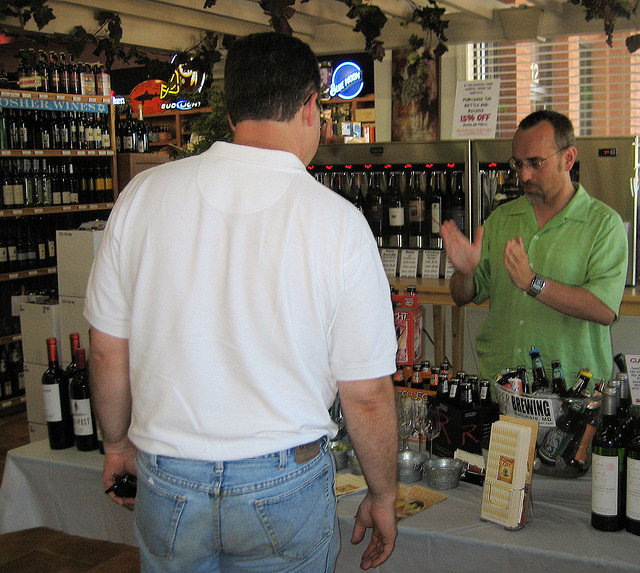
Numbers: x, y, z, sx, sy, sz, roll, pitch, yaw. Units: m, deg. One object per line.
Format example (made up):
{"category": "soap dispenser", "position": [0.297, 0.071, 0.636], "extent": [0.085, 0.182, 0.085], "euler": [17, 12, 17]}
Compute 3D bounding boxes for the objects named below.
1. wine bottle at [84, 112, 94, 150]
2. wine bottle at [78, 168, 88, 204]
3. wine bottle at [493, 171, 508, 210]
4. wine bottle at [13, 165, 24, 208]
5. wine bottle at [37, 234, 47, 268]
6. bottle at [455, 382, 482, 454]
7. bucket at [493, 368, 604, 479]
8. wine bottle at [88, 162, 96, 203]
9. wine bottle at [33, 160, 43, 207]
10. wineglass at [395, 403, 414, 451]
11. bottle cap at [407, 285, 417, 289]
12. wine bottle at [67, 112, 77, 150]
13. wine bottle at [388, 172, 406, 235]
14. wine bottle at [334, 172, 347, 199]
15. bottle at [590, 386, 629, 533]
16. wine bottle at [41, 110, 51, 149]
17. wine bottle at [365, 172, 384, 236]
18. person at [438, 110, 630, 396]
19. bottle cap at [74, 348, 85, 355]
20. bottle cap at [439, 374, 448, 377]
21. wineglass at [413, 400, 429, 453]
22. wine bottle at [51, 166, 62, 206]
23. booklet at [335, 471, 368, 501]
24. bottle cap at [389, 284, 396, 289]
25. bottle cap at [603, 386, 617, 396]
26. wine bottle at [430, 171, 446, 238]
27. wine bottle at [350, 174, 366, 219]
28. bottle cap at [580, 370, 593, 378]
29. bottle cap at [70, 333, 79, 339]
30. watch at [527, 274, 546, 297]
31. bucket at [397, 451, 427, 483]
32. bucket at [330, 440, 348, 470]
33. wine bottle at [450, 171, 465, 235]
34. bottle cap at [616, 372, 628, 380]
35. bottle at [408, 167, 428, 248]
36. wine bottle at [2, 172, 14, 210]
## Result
{"category": "wine bottle", "position": [-2.334, -1.533, 5.927], "extent": [0.092, 0.301, 0.086], "euler": [-1, 5, 0]}
{"category": "wine bottle", "position": [-2.491, -1.059, 6.162], "extent": [0.093, 0.363, 0.139], "euler": [-3, 6, -24]}
{"category": "wine bottle", "position": [1.244, -0.665, 4.035], "extent": [0.095, 0.244, 0.074], "euler": [1, 5, 19]}
{"category": "wine bottle", "position": [-2.825, -0.905, 5.504], "extent": [0.077, 0.338, 0.179], "euler": [-3, 6, -22]}
{"category": "wine bottle", "position": [-2.793, -0.346, 5.897], "extent": [0.069, 0.272, 0.110], "euler": [-3, 6, -27]}
{"category": "bottle", "position": [0.515, 0.469, 2.069], "extent": [0.089, 0.260, 0.097], "euler": [0, -6, 0]}
{"category": "bucket", "position": [0.730, 0.434, 1.897], "extent": [0.278, 0.243, 0.272], "euler": [2, 3, 0]}
{"category": "wine bottle", "position": [-2.411, -1.103, 6.207], "extent": [0.072, 0.426, 0.167], "euler": [-2, 5, -21]}
{"category": "wine bottle", "position": [-2.719, -0.939, 5.666], "extent": [0.082, 0.300, 0.059], "euler": [-5, 7, -41]}
{"category": "wineglass", "position": [0.294, 0.485, 2.076], "extent": [0.053, 0.141, 0.126], "euler": [2, 6, 31]}
{"category": "bottle cap", "position": [0.529, 0.004, 3.321], "extent": [0.039, 0.029, 0.042], "euler": [1, 4, -13]}
{"category": "wine bottle", "position": [-2.445, -1.505, 5.792], "extent": [0.072, 0.316, 0.139], "euler": [0, 5, 3]}
{"category": "wine bottle", "position": [0.568, -0.608, 4.310], "extent": [0.129, 0.452, 0.170], "euler": [0, 5, 7]}
{"category": "wine bottle", "position": [0.169, -0.769, 4.458], "extent": [0.080, 0.174, 0.182], "euler": [-2, 6, -15]}
{"category": "bottle", "position": [0.819, 0.475, 1.634], "extent": [0.128, 0.388, 0.089], "euler": [-2, 5, -20]}
{"category": "wine bottle", "position": [-2.623, -1.467, 5.636], "extent": [0.074, 0.305, 0.168], "euler": [-3, 6, -26]}
{"category": "wine bottle", "position": [0.406, -0.611, 4.367], "extent": [0.144, 0.468, 0.139], "euler": [-1, 5, 0]}
{"category": "person", "position": [0.841, -0.138, 2.391], "extent": [0.713, 1.189, 0.719], "euler": [3, 6, 33]}
{"category": "bottle cap", "position": [-1.019, 0.273, 2.503], "extent": [0.023, 0.025, 0.025], "euler": [2, 1, 21]}
{"category": "bottle cap", "position": [0.485, 0.345, 2.295], "extent": [0.031, 0.010, 0.023], "euler": [1, 7, 13]}
{"category": "wineglass", "position": [0.366, 0.468, 2.113], "extent": [0.081, 0.126, 0.040], "euler": [-5, 7, -37]}
{"category": "wine bottle", "position": [-2.619, -0.960, 5.824], "extent": [0.100, 0.301, 0.138], "euler": [-5, 7, -39]}
{"category": "booklet", "position": [0.104, 0.655, 1.972], "extent": [0.097, 0.025, 0.238], "euler": [-1, 7, 2]}
{"category": "bottle cap", "position": [0.437, 0.000, 3.509], "extent": [0.018, 0.023, 0.032], "euler": [-5, 5, 20]}
{"category": "bottle cap", "position": [0.812, 0.291, 1.640], "extent": [0.028, 0.032, 0.030], "euler": [-1, -1, -17]}
{"category": "wine bottle", "position": [0.844, -0.585, 4.213], "extent": [0.122, 0.468, 0.147], "euler": [4, 7, 41]}
{"category": "wine bottle", "position": [0.294, -0.694, 4.445], "extent": [0.110, 0.302, 0.110], "euler": [-1, 5, 0]}
{"category": "bottle cap", "position": [0.861, 0.281, 1.898], "extent": [0.035, 0.010, 0.040], "euler": [8, 14, 7]}
{"category": "bottle cap", "position": [-1.051, 0.205, 2.507], "extent": [0.027, 0.023, 0.030], "euler": [1, 1, 2]}
{"category": "watch", "position": [0.841, -0.003, 2.267], "extent": [0.048, 0.079, 0.076], "euler": [30, 64, 26]}
{"category": "bucket", "position": [0.316, 0.605, 1.988], "extent": [0.094, 0.107, 0.162], "euler": [0, 6, 11]}
{"category": "bucket", "position": [0.073, 0.604, 2.120], "extent": [0.057, 0.093, 0.122], "euler": [-1, 6, 1]}
{"category": "wine bottle", "position": [0.979, -0.595, 4.164], "extent": [0.102, 0.430, 0.123], "euler": [1, 5, 13]}
{"category": "bottle cap", "position": [0.870, 0.252, 1.688], "extent": [0.028, 0.021, 0.031], "euler": [1, 9, -1]}
{"category": "bottle", "position": [0.712, -0.570, 4.278], "extent": [0.133, 0.572, 0.191], "euler": [-1, 5, -7]}
{"category": "wine bottle", "position": [-2.873, -0.878, 5.412], "extent": [0.081, 0.318, 0.125], "euler": [-1, 5, -8]}
